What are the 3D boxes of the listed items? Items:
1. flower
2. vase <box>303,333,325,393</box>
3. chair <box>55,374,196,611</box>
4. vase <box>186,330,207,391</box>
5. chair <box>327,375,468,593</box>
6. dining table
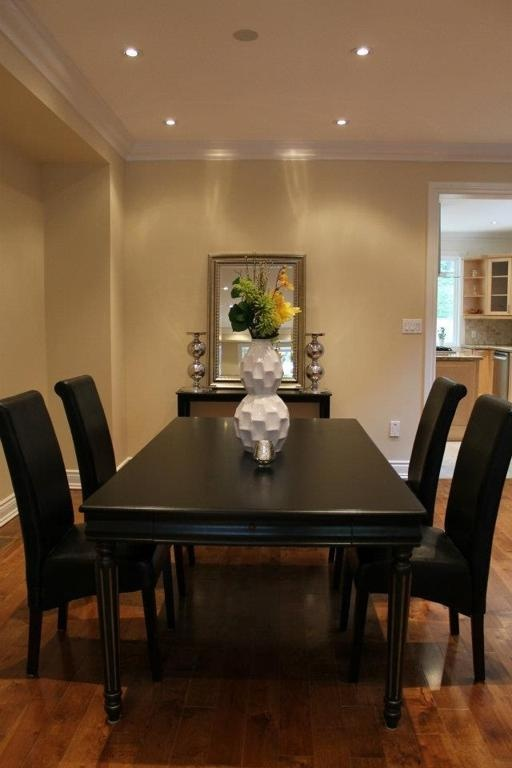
[{"bbox_3d":[-0.001,-0.260,1.814,0.213,0.233,0.215,8,10,-23],"label":"flower"},{"bbox_3d":[0.398,-0.156,3.865,0.122,0.397,0.293,0,2,5],"label":"vase"},{"bbox_3d":[-0.465,0.300,2.039,0.446,0.672,0.417,-1,5,17],"label":"chair"},{"bbox_3d":[-0.407,-0.171,3.884,0.126,0.399,0.295,0,2,-5],"label":"vase"},{"bbox_3d":[0.496,0.333,2.089,0.443,0.737,0.387,2,6,7],"label":"chair"},{"bbox_3d":[0.002,0.525,1.726,0.819,0.626,0.949,0,2,4],"label":"dining table"}]
